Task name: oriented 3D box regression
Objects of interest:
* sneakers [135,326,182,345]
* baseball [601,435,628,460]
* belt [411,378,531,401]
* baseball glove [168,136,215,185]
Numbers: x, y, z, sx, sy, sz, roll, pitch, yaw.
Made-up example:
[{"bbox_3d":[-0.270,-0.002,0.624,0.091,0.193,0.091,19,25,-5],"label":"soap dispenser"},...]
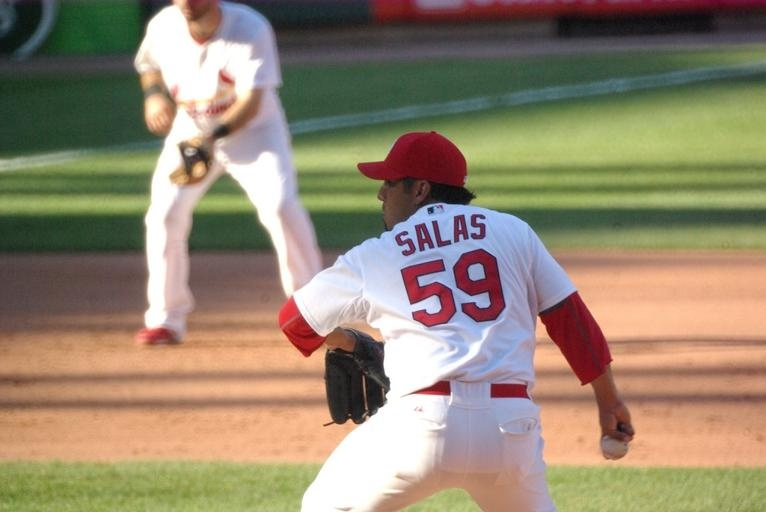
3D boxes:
[{"bbox_3d":[-2.354,0.828,16.195,0.378,0.136,0.194,7,0,3],"label":"sneakers"},{"bbox_3d":[2.006,1.698,13.748,0.245,0.202,0.202,1,-17,13],"label":"baseball"},{"bbox_3d":[0.754,1.169,13.544,0.953,0.197,0.083,-3,13,-4],"label":"belt"},{"bbox_3d":[-1.937,-0.965,15.810,0.385,0.451,0.231,2,-11,29],"label":"baseball glove"}]
